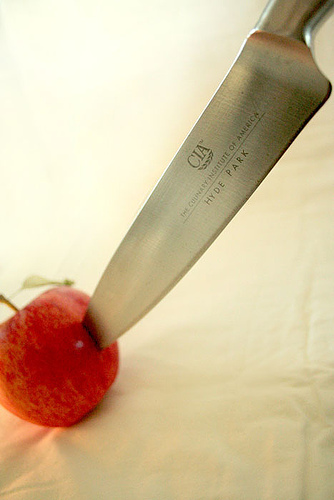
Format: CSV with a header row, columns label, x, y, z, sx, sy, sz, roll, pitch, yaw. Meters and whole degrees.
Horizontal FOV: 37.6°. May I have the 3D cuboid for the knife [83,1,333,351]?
label,x,y,z,sx,sy,sz,roll,pitch,yaw
knife,-0.023,-0.004,0.594,0.110,0.615,0.064,45,28,2
